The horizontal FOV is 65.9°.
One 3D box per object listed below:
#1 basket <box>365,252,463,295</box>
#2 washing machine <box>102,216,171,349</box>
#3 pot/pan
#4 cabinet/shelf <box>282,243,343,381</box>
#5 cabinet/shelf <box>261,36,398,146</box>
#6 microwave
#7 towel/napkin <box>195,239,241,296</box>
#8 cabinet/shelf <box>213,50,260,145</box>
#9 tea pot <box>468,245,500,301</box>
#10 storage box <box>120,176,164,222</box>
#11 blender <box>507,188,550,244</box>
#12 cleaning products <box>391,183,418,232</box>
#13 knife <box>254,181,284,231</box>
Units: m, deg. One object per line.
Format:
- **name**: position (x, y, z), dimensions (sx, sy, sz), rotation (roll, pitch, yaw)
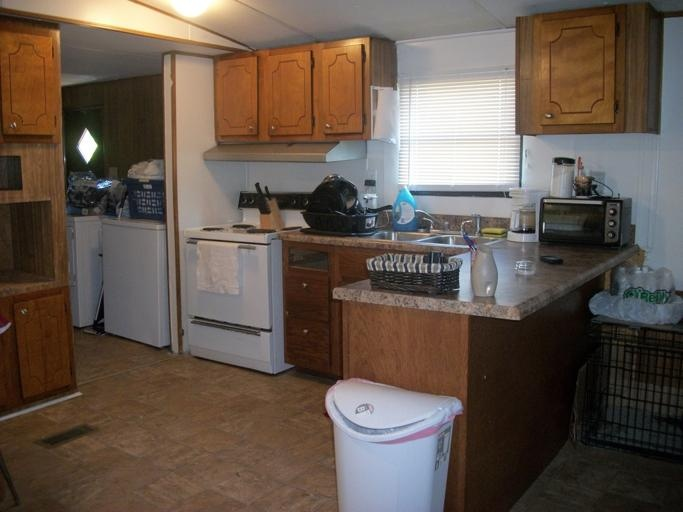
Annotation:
- **basket**: position (0.324, 0.077, 2.410), dimensions (0.375, 0.145, 0.257), rotation (2, 6, 30)
- **washing machine**: position (-1.736, 0.197, 4.895), dimensions (0.651, 1.230, 0.565), rotation (12, 15, 39)
- **pot/pan**: position (-0.010, -0.391, 4.016), dimensions (0.569, 0.434, 0.294), rotation (-1, 12, -4)
- **cabinet/shelf**: position (-0.230, 0.410, 4.040), dimensions (0.469, 1.020, 0.423), rotation (12, 14, 41)
- **cabinet/shelf**: position (-0.121, -1.325, 4.369), dimensions (1.016, 0.753, 0.531), rotation (5, 10, 31)
- **microwave**: position (1.583, -0.227, 3.437), dimensions (0.515, 0.337, 0.348), rotation (4, 7, 32)
- **towel/napkin**: position (-0.983, 0.081, 4.256), dimensions (0.442, 0.416, 0.062), rotation (3, 4, 35)
- **cabinet/shelf**: position (-0.854, -1.367, 4.623), dimensions (0.407, 0.744, 0.294), rotation (11, 16, 36)
- **tea pot**: position (0.611, 0.061, 2.260), dimensions (0.104, 0.208, 0.157), rotation (3, 13, 16)
- **storage box**: position (-1.752, -0.510, 4.722), dimensions (0.623, 0.446, 0.342), rotation (8, 10, 41)
- **blender**: position (1.307, -0.281, 3.752), dimensions (0.240, 0.361, 0.227), rotation (1, 0, -32)
- **cleaning products**: position (0.508, -0.382, 4.235), dimensions (0.211, 0.359, 0.209), rotation (-6, 18, -14)
- **knife**: position (-0.622, -0.442, 4.559), dimensions (0.225, 0.369, 0.417), rotation (-2, 12, -8)
